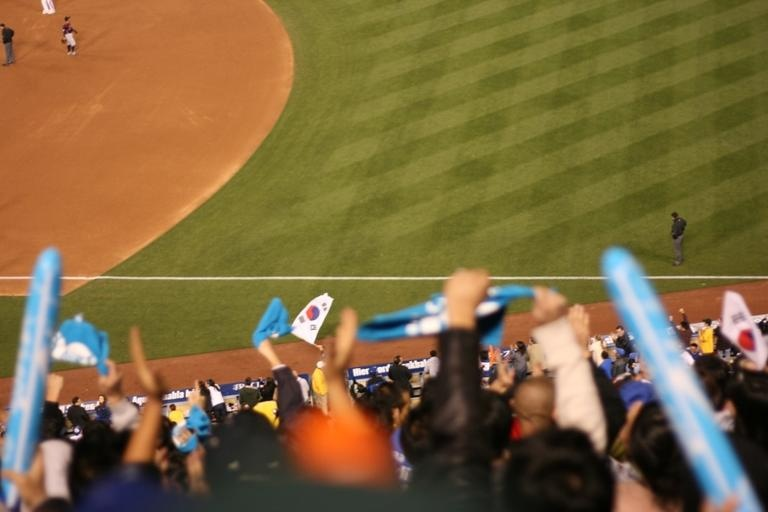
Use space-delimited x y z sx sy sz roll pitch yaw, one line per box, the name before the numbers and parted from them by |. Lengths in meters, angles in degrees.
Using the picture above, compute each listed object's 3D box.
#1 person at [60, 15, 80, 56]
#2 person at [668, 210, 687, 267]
person | -10.226 -7.185 35.486 0.489 1.513 1.572 -6 -10 -14
person | 8.115 -0.529 30.073 0.520 1.502 1.609 -11 -10 14
